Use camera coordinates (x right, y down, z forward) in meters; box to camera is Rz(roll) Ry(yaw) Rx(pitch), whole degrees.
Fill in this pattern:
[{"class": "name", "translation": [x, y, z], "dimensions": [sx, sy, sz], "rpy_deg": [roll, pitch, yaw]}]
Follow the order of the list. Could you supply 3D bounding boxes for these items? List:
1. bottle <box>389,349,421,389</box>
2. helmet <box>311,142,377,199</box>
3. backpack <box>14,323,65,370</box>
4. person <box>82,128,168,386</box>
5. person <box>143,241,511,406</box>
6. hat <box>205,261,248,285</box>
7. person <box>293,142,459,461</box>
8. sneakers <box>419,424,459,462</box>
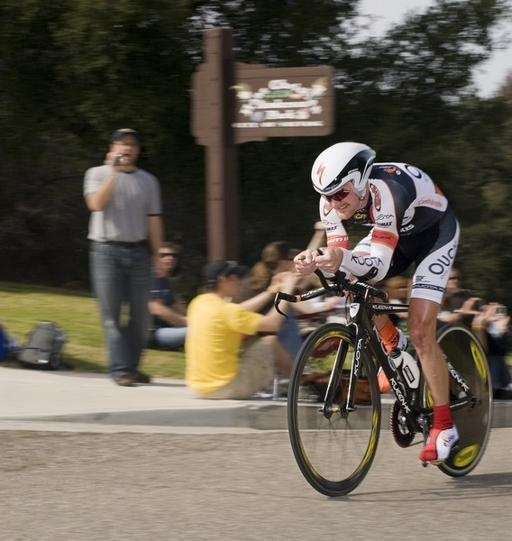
[{"class": "bottle", "translation": [0.764, 0.496, 4.798], "dimensions": [0.172, 0.182, 0.061], "rpy_deg": [-10, -12, -41]}, {"class": "helmet", "translation": [0.411, -0.477, 4.497], "dimensions": [0.285, 0.248, 0.149], "rpy_deg": [0, 8, 0]}, {"class": "backpack", "translation": [-1.690, 0.578, 7.483], "dimensions": [0.320, 0.121, 0.391], "rpy_deg": [10, 46, 12]}, {"class": "person", "translation": [-0.956, -0.099, 6.784], "dimensions": [0.545, 1.822, 0.530], "rpy_deg": [0, 8, -4]}, {"class": "person", "translation": [0.623, 0.283, 7.498], "dimensions": [2.730, 1.167, 1.209], "rpy_deg": [3, -11, -32]}, {"class": "hat", "translation": [-0.191, 0.009, 6.010], "dimensions": [0.251, 0.062, 0.145], "rpy_deg": [-5, 6, -29]}, {"class": "person", "translation": [0.649, 0.166, 4.718], "dimensions": [0.741, 1.590, 1.046], "rpy_deg": [2, 8, 10]}, {"class": "sneakers", "translation": [0.896, 0.855, 4.735], "dimensions": [0.105, 0.101, 0.270], "rpy_deg": [-6, 18, 39]}]
